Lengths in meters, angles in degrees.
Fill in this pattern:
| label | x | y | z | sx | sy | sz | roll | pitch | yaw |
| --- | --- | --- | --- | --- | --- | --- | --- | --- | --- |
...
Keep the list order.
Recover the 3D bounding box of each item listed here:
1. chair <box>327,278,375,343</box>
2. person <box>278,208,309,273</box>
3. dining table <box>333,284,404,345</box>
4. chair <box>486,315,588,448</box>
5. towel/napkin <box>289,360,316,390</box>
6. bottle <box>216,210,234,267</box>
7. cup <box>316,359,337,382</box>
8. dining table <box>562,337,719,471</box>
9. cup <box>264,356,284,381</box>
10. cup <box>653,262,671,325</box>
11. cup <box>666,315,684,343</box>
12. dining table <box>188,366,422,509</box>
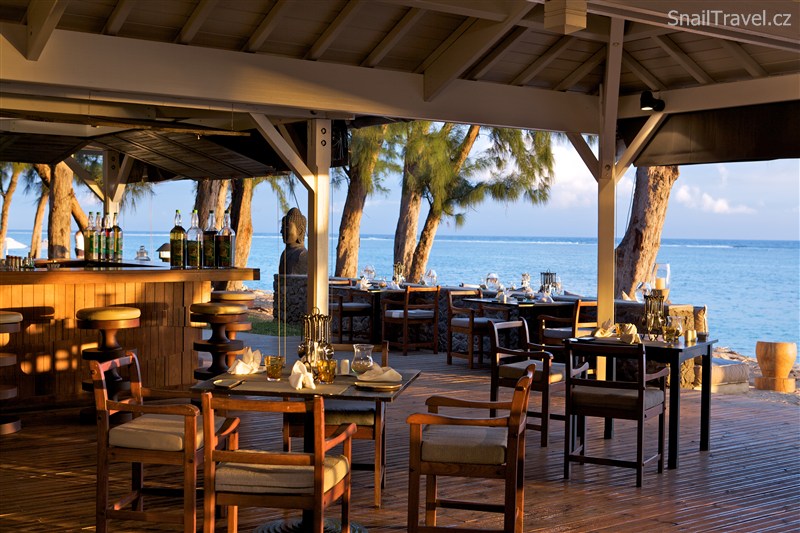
| label | x | y | z | sx | sy | sz | roll | pitch | yaw |
| --- | --- | --- | --- | --- | --- | --- | --- | --- | --- |
| chair | -0.792 | 0.730 | 12.110 | 0.765 | 1.317 | 0.861 | 0 | -1 | -29 |
| person | -1.935 | -0.487 | 13.932 | 0.426 | 1.230 | 1.128 | 2 | -1 | -8 |
| dining table | -0.608 | 0.701 | 11.996 | 0.780 | 0.736 | 1.449 | -2 | 4 | -23 |
| chair | 1.212 | 1.062 | 7.808 | 1.083 | 1.644 | 1.078 | 1 | 1 | 28 |
| towel/napkin | -0.669 | 0.728 | 5.149 | 0.144 | 0.080 | 0.200 | 1 | 14 | -11 |
| bottle | -1.877 | -0.311 | 8.103 | 0.179 | 0.618 | 0.421 | 1 | -1 | -6 |
| cup | -0.511 | 0.724 | 5.364 | 0.154 | 0.163 | 0.098 | 2 | -1 | -29 |
| dining table | 2.145 | 1.074 | 6.847 | 1.187 | 1.150 | 1.194 | -1 | -1 | 36 |
| cup | -0.900 | 0.724 | 5.493 | 0.155 | 0.173 | 0.150 | 1 | -4 | 0 |
| cup | 2.340 | 0.266 | 6.921 | 0.187 | 0.601 | 0.389 | 1 | -1 | 18 |
| cup | 2.407 | 0.563 | 6.749 | 0.183 | 0.247 | 0.206 | 1 | -4 | -2 |
| dining table | -0.549 | 0.998 | 5.389 | 1.162 | 0.710 | 1.197 | -1 | -3 | 12 |
